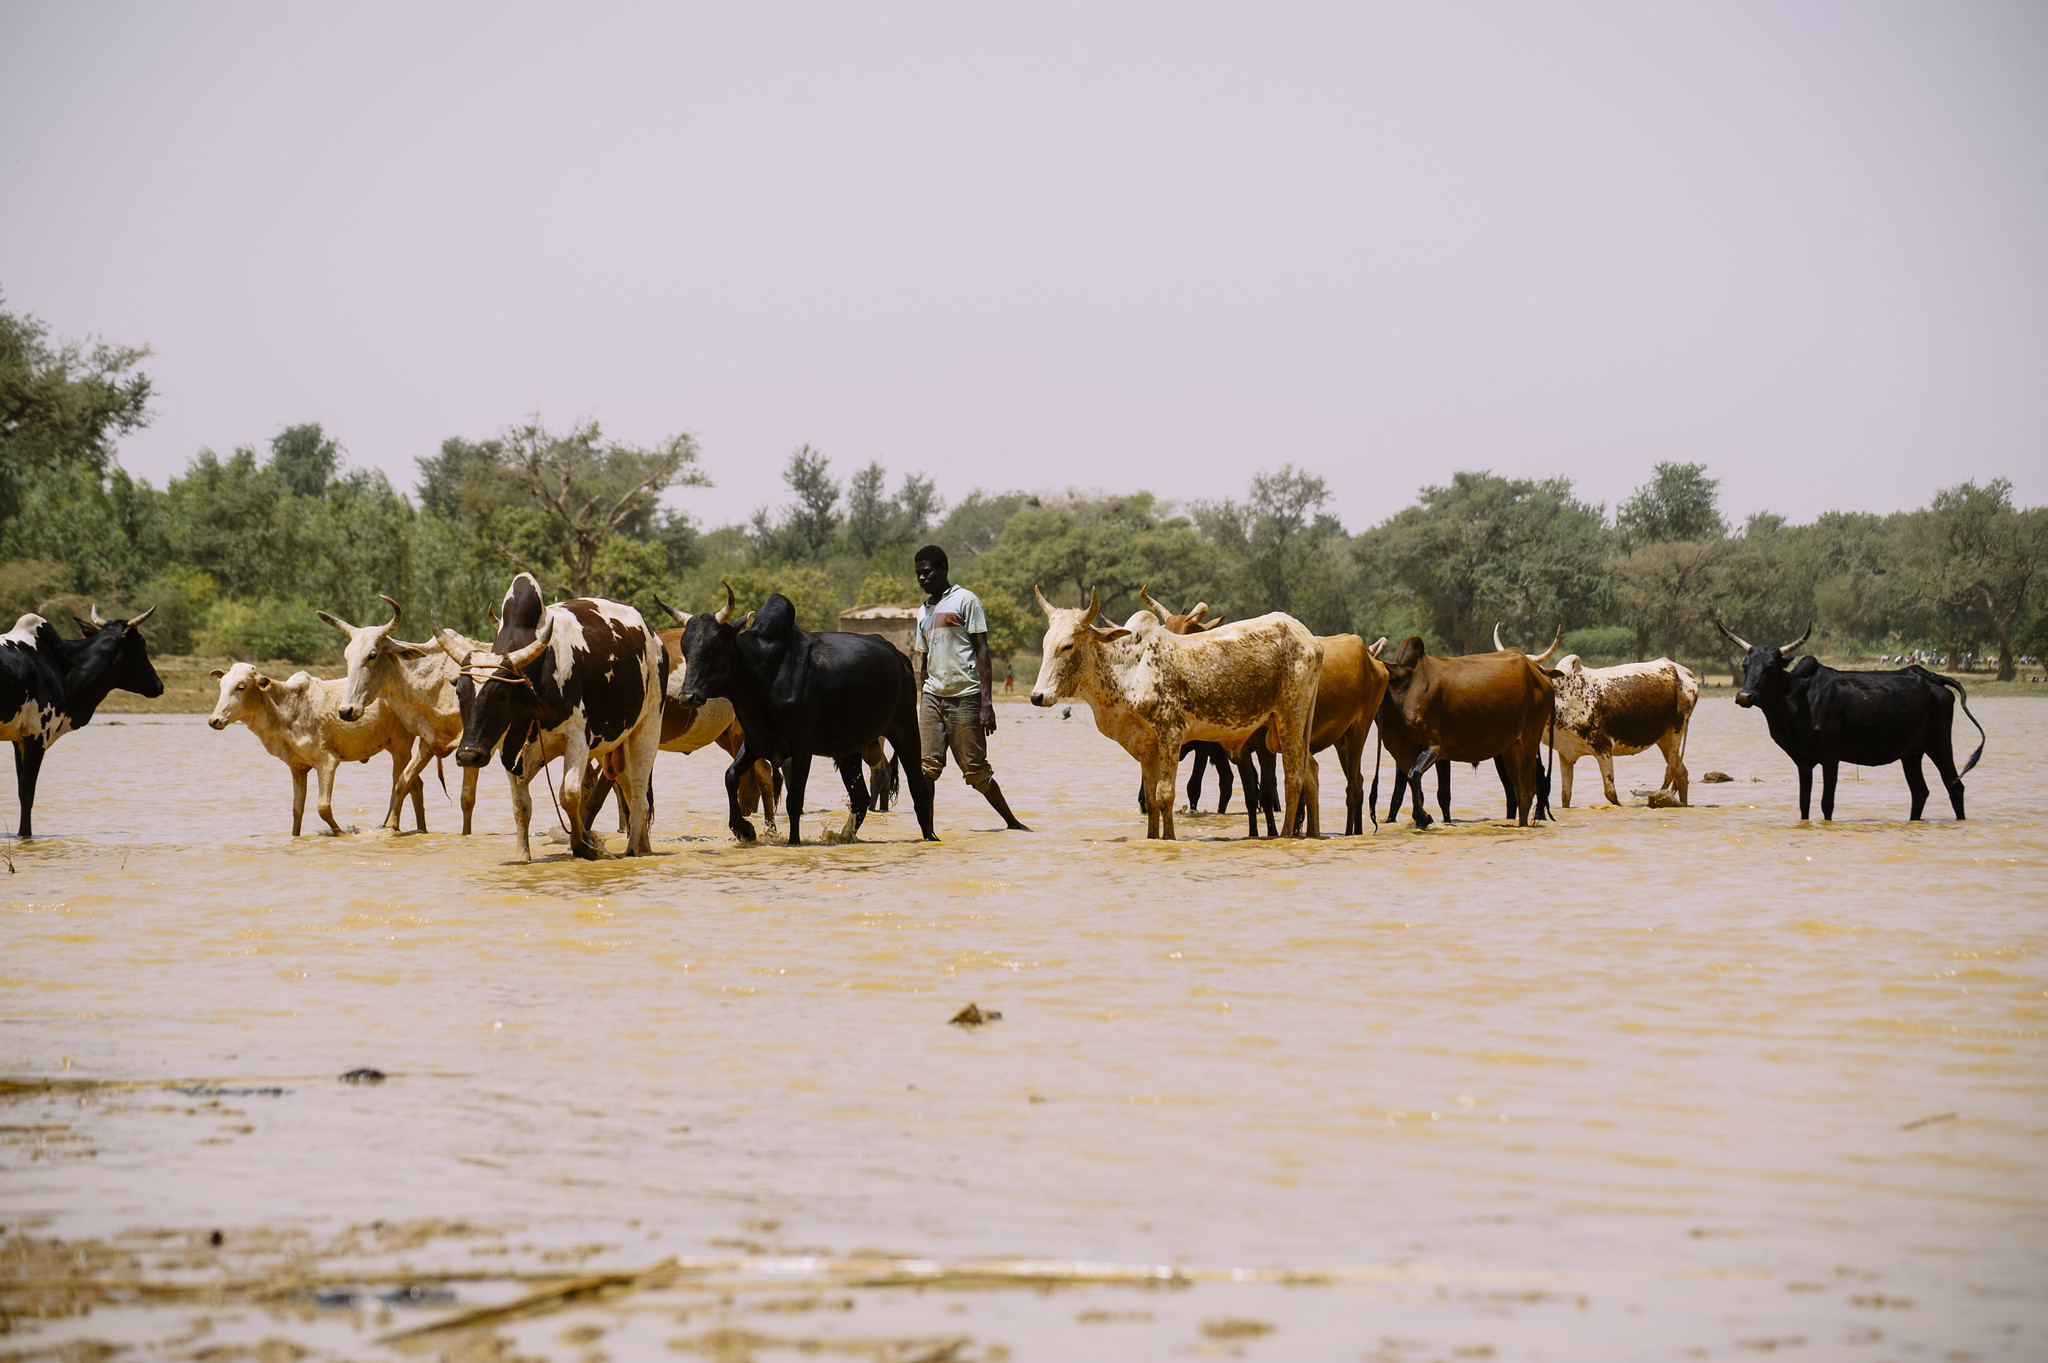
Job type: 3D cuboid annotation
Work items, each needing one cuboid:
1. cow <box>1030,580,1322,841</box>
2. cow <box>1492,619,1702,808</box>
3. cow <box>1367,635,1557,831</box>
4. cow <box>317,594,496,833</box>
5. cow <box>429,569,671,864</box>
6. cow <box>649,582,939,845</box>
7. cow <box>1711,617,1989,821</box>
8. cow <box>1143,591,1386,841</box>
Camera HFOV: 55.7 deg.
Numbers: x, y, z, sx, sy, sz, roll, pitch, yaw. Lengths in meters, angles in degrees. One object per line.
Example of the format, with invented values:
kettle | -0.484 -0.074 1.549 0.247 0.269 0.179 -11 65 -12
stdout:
cow | 1.765 0.420 22.214 3.830 3.054 1.255 0 -1 -28
cow | 8.052 0.710 27.277 3.384 2.504 1.235 0 5 -20
cow | 5.198 0.618 23.574 3.691 2.031 1.194 3 4 -38
cow | -7.220 0.323 23.193 1.146 2.361 3.090 10 0 21
cow | -4.867 0.532 20.638 1.225 2.956 4.250 -1 -2 12
cow | -2.534 0.451 21.772 1.266 2.677 3.996 -3 -5 32
cow | 10.313 0.717 23.906 2.979 2.343 0.999 4 -7 0
cow | 3.392 0.526 24.647 3.903 3.152 1.763 7 -8 -40
